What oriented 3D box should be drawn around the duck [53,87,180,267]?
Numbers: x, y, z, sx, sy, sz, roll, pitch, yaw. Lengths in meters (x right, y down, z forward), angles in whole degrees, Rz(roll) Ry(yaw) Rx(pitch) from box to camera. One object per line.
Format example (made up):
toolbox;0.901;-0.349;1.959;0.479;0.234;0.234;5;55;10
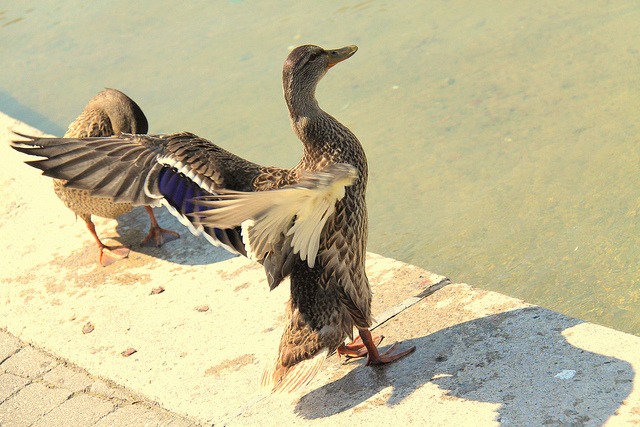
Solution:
duck;-2.264;-0.496;10.592;1.205;1.413;1.837;11;55;-7
